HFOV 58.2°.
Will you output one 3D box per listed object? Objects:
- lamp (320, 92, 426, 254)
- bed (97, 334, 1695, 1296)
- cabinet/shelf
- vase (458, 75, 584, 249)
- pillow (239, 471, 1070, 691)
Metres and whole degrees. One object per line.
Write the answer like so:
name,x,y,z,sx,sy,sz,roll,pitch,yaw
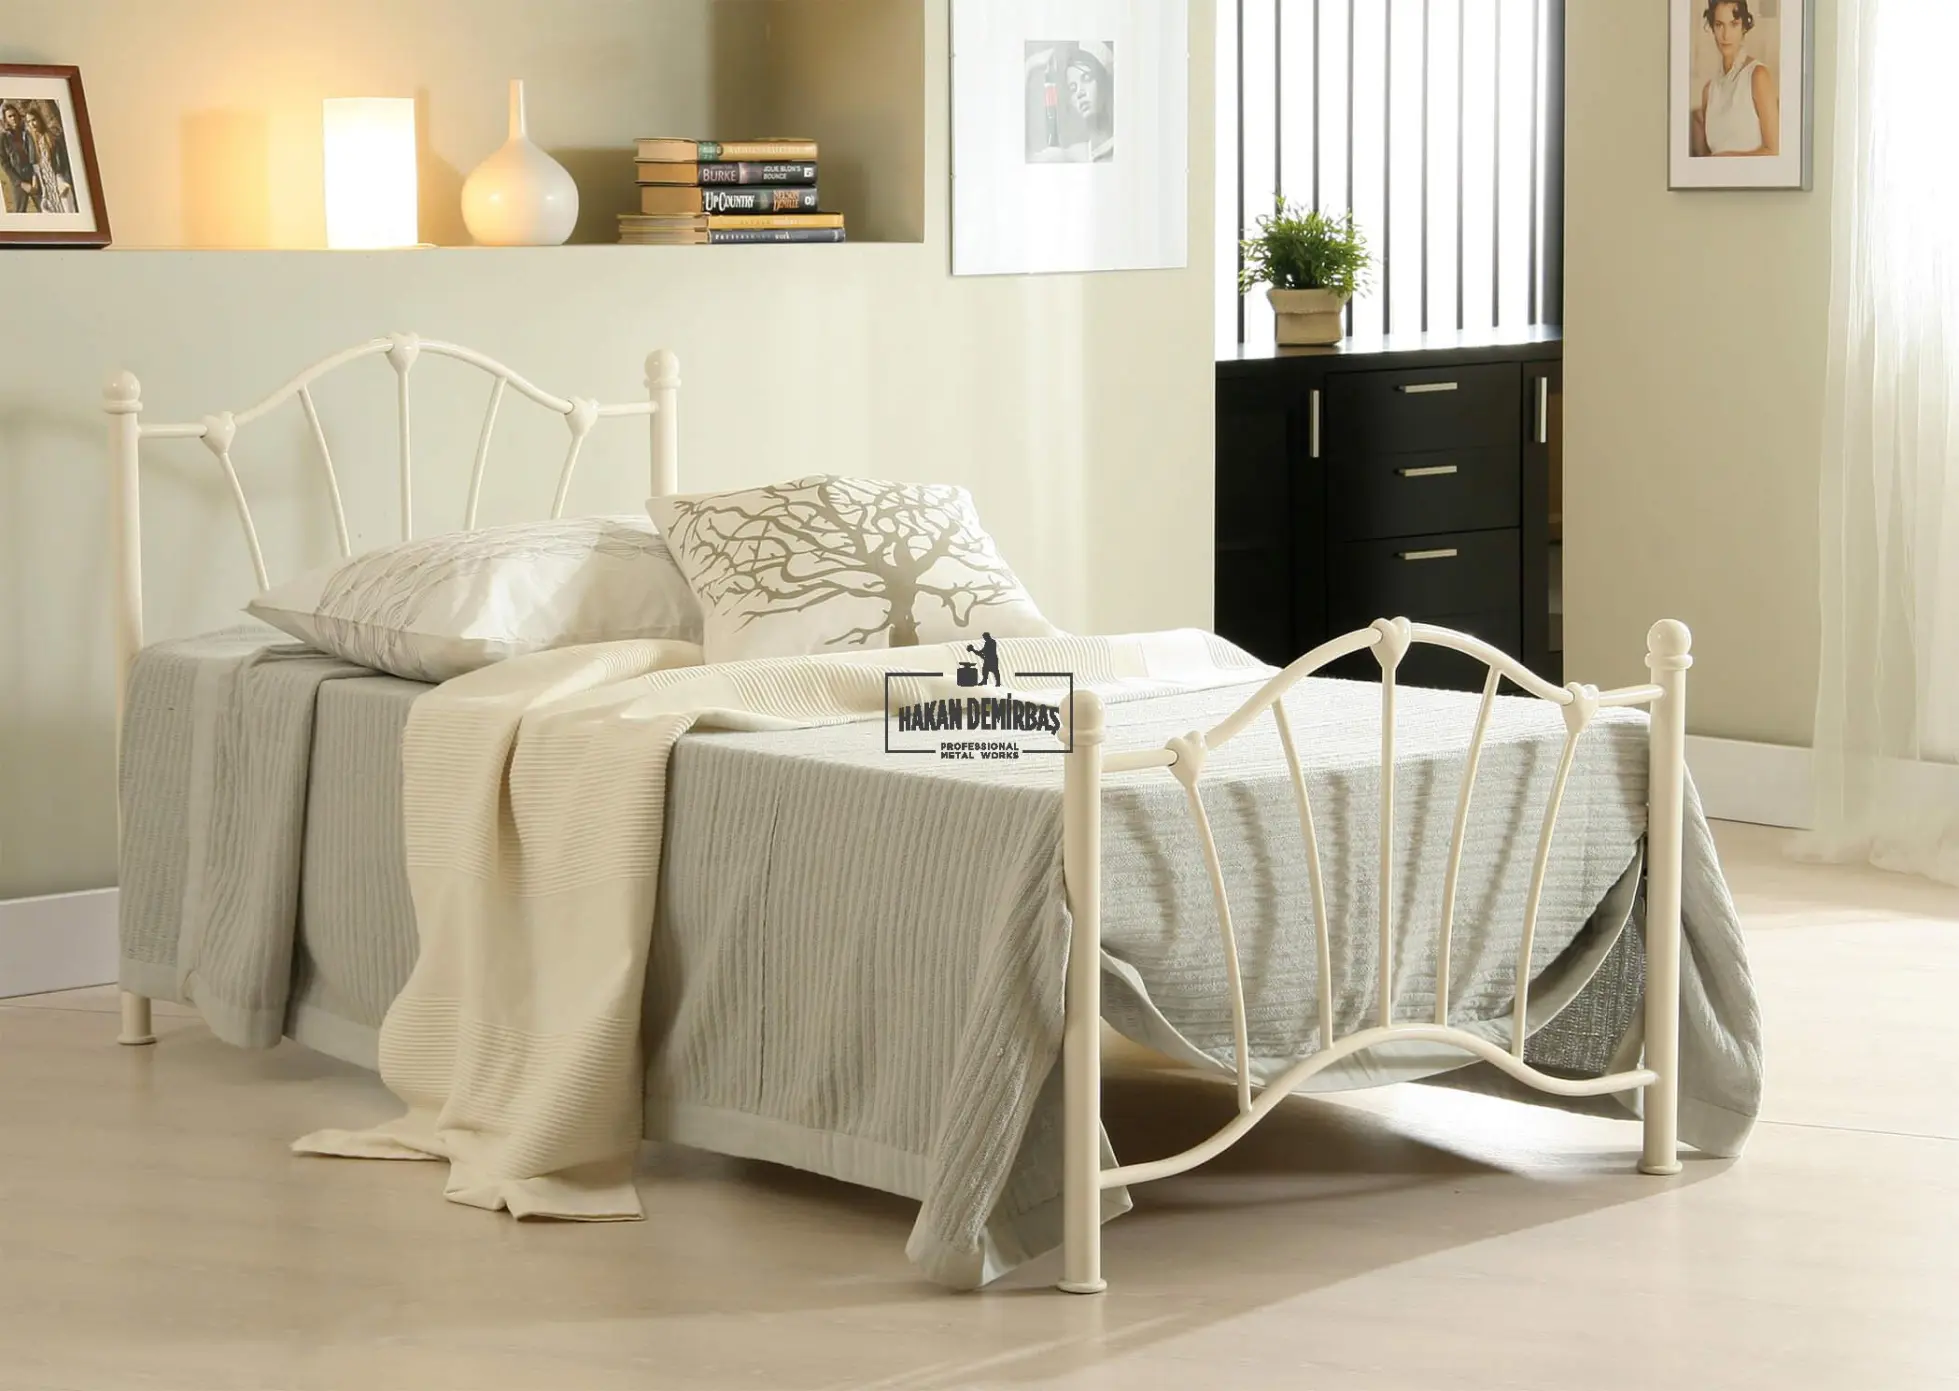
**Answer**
lamp,-1.393,-1.173,3.990,0.193,0.328,0.081,-2,6,-12
bed,-0.310,0.175,3.012,2.454,1.358,1.548,8,10,44
cabinet/shelf,1.172,-0.539,5.175,1.146,1.037,0.429,-3,3,-31
vase,-1.079,-1.226,4.090,0.202,0.389,0.183,3,7,31
pillow,-0.566,-0.199,3.202,0.759,0.273,0.693,-4,1,27
